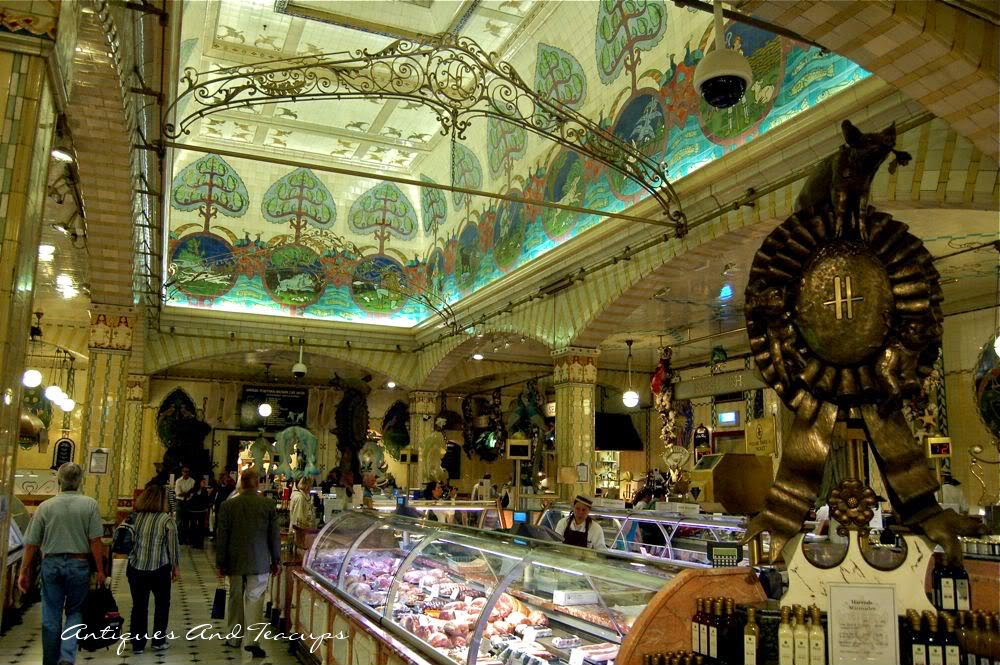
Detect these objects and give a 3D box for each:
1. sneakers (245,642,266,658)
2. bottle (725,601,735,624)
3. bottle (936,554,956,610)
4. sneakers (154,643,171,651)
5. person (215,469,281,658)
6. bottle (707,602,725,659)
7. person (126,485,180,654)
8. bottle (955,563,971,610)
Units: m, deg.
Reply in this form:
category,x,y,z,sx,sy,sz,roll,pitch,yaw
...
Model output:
category,x,y,z,sx,sy,sz,roll,pitch,yaw
sneakers,-2.533,3.276,7.809,0.124,0.092,0.189,10,-13,-33
bottle,1.326,1.588,4.327,0.057,0.109,0.027,2,-14,-14
bottle,2.670,1.491,4.513,0.112,0.313,0.102,-1,-13,0
sneakers,-3.513,3.259,7.828,0.138,0.057,0.060,0,-2,-10
person,-2.687,2.411,8.001,0.629,1.900,0.615,2,-14,-14
bottle,1.233,1.679,4.298,0.097,0.311,0.046,-4,-13,12
person,-3.618,2.409,7.810,0.456,1.700,0.704,5,-15,-25
bottle,2.755,1.512,4.488,0.054,0.225,0.167,-4,-2,44
